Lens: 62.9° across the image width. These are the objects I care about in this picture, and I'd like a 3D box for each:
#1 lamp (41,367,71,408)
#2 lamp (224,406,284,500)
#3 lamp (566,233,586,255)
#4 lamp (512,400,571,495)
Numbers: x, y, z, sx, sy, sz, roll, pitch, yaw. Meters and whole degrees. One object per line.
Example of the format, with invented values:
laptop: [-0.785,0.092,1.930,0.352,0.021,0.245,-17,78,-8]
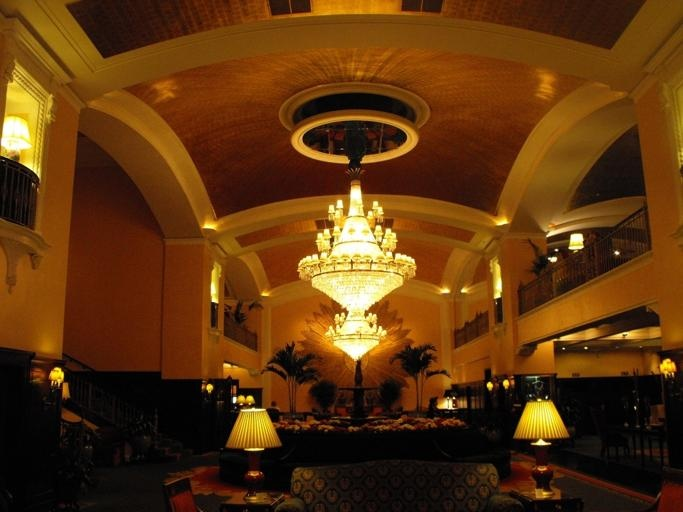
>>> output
lamp: [-4.123,1.832,8.076,0.245,0.470,0.262,7,4,23]
lamp: [-1.096,2.384,6.849,0.638,1.058,1.086,3,-20,-6]
lamp: [6.555,-0.351,15.575,0.526,0.617,0.556,1,-13,0]
lamp: [2.431,2.292,6.798,0.608,1.068,0.615,-9,-18,38]
